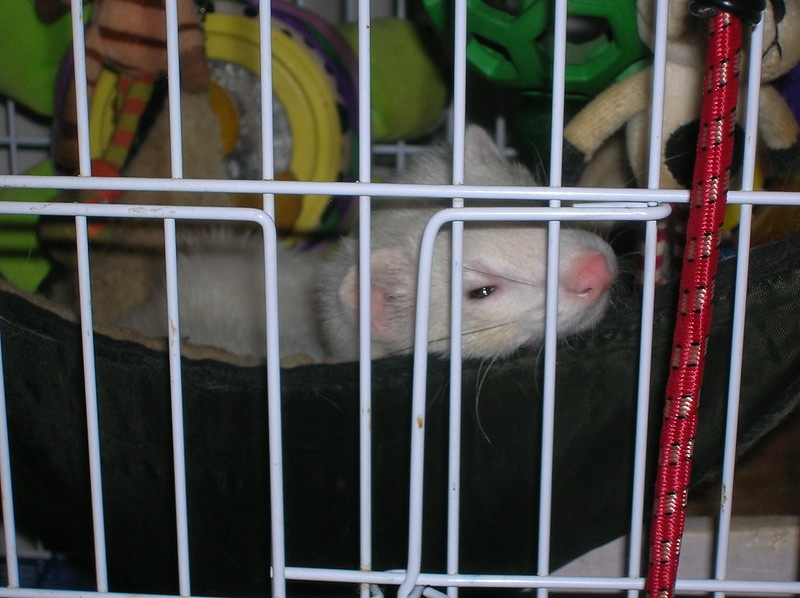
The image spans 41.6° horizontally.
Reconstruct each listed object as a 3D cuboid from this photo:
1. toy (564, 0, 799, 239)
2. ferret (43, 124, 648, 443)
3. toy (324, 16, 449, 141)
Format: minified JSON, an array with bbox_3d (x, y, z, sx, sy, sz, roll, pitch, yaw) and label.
[{"bbox_3d":[0.455,-0.294,1.690,0.387,0.396,0.285,6,12,1],"label":"toy"},{"bbox_3d":[-0.060,-0.046,2.019,1.076,0.652,0.395,-4,9,20],"label":"ferret"},{"bbox_3d":[-0.008,-0.451,2.379,0.222,0.351,0.279,3,3,18],"label":"toy"}]
